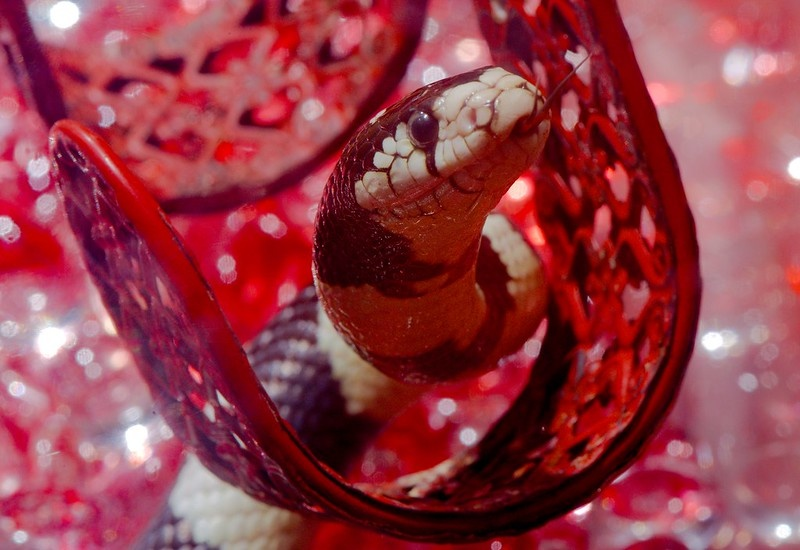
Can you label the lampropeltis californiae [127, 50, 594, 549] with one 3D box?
[{"bbox_3d":[-0.067,0.005,0.967,0.293,0.554,0.133,1,47,-40],"label":"lampropeltis californiae"}]
